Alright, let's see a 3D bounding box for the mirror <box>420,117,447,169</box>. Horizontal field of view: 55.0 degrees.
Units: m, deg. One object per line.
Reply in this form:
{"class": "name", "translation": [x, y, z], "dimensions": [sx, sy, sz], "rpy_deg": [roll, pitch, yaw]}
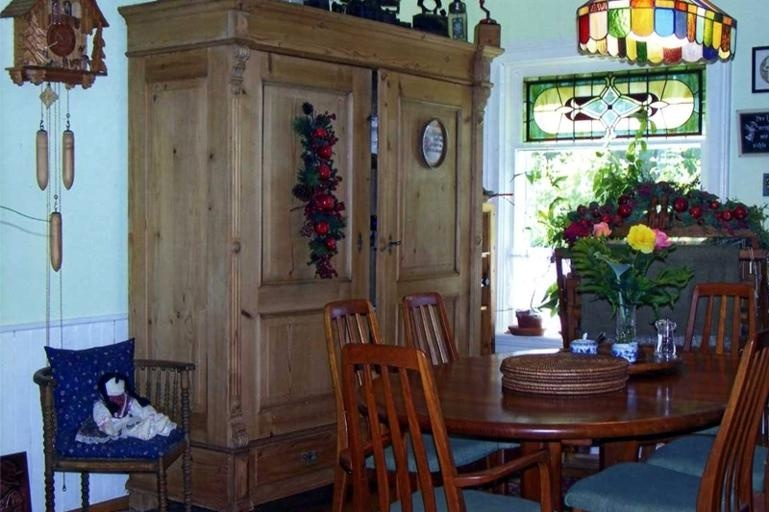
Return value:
{"class": "mirror", "translation": [0.324, -0.767, 5.024], "dimensions": [0.050, 0.396, 0.331], "rpy_deg": [3, 6, 36]}

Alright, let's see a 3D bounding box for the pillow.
{"class": "pillow", "translation": [-1.472, 0.731, 3.690], "dimensions": [0.230, 0.635, 0.519], "rpy_deg": [-11, -9, 43]}

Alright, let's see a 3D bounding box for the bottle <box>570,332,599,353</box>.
{"class": "bottle", "translation": [0.934, 0.390, 3.469], "dimensions": [0.116, 0.120, 0.119], "rpy_deg": [-3, -5, 44]}

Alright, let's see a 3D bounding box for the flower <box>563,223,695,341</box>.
{"class": "flower", "translation": [1.115, 0.143, 3.425], "dimensions": [0.519, 0.556, 0.555], "rpy_deg": [5, 15, 33]}

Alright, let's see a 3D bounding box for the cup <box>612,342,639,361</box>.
{"class": "cup", "translation": [1.098, 0.431, 3.347], "dimensions": [0.090, 0.070, 0.092], "rpy_deg": [0, -6, 0]}

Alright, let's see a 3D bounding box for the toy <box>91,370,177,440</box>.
{"class": "toy", "translation": [-1.264, 0.754, 3.766], "dimensions": [0.353, 0.273, 0.272], "rpy_deg": [8, 7, 20]}
